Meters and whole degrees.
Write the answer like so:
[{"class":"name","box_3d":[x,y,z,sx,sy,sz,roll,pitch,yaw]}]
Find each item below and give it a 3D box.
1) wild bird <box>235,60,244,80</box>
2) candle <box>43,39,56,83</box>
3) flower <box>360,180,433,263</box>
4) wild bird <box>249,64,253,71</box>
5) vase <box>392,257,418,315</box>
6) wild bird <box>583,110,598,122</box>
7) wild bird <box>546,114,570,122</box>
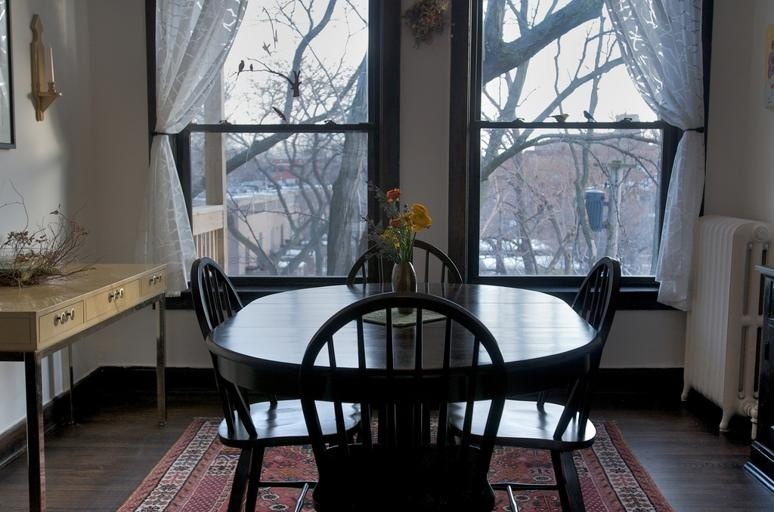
[{"class":"wild bird","box_3d":[-1.038,-1.337,4.674,0.035,0.123,0.076,12,5,6]},{"class":"candle","box_3d":[-2.093,-1.186,4.045,0.048,0.256,0.285,-5,9,-26]},{"class":"flower","box_3d":[0.072,-0.153,3.279,0.263,0.370,0.278,-11,14,-11]},{"class":"wild bird","box_3d":[-0.971,-1.344,4.646,0.017,0.049,0.020,3,1,2]},{"class":"vase","box_3d":[0.085,0.149,3.357,0.128,0.243,0.130,-2,13,-4]},{"class":"wild bird","box_3d":[1.439,-1.002,4.655,0.099,0.104,0.052,-8,5,3]},{"class":"wild bird","box_3d":[1.222,-0.996,4.660,0.147,0.069,0.047,14,17,17]}]
